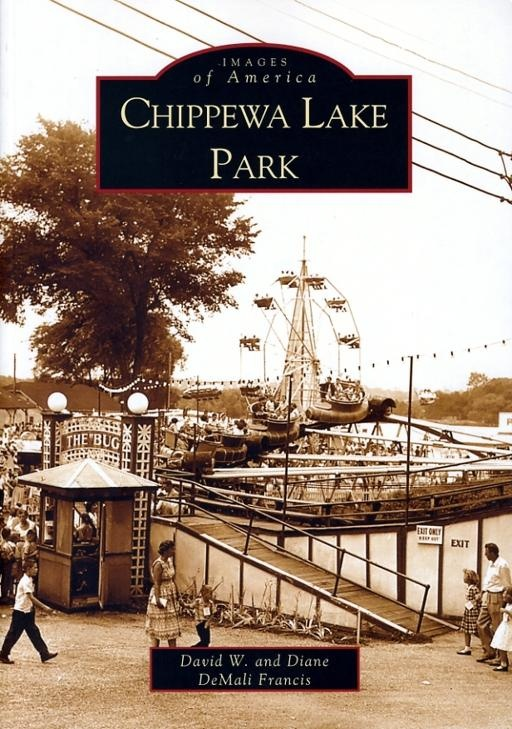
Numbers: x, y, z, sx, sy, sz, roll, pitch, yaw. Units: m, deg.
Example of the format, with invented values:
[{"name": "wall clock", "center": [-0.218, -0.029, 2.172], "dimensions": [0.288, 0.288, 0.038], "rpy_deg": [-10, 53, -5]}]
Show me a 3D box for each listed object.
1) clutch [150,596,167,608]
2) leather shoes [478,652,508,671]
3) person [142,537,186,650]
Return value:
[{"name": "clutch", "center": [-1.320, 3.265, 16.810], "dimensions": [0.230, 0.176, 0.156], "rpy_deg": [3, -4, -5]}, {"name": "leather shoes", "center": [3.625, 4.444, 18.317], "dimensions": [0.201, 0.274, 0.617], "rpy_deg": [8, -6, -39]}, {"name": "person", "center": [-1.259, 3.228, 17.012], "dimensions": [0.459, 1.539, 1.116], "rpy_deg": [3, -4, -3]}]
